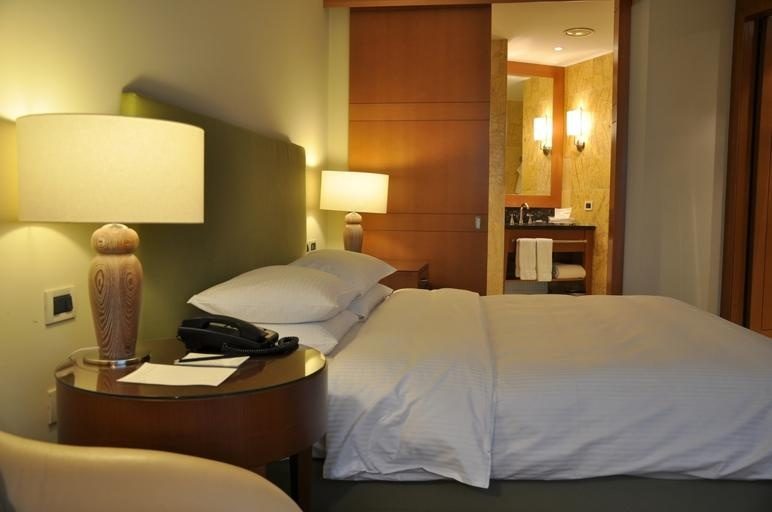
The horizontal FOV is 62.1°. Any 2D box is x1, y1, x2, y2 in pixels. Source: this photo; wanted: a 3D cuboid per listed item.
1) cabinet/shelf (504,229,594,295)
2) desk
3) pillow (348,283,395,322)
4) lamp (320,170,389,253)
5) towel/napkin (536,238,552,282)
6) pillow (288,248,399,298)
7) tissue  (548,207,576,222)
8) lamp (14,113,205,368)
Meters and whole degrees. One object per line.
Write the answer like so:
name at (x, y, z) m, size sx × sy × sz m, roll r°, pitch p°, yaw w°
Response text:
cabinet/shelf at (1.705, -0.062, 6.732) m, size 0.899 × 0.908 × 0.680 m, roll 0°, pitch 11°, yaw 1°
desk at (-0.644, 0.562, 2.442) m, size 0.588 × 0.474 × 0.595 m, roll 0°, pitch 2°, yaw 3°
pillow at (-0.095, 0.252, 3.542) m, size 0.135 × 0.075 × 0.404 m, roll 34°, pitch 17°, yaw 5°
lamp at (-0.312, -0.367, 5.176) m, size 0.570 × 0.708 × 0.560 m, roll -2°, pitch 8°, yaw -24°
towel/napkin at (1.560, 0.041, 6.282) m, size 0.203 × 0.363 × 0.092 m, roll -2°, pitch -1°, yaw 3°
pillow at (-0.259, 0.058, 3.661) m, size 0.328 × 0.111 × 0.359 m, roll 10°, pitch 10°, yaw 14°
tissue  at (1.868, -0.412, 6.841) m, size 0.194 × 0.208 × 0.089 m, roll -1°, pitch -29°, yaw 17°
lamp at (-1.074, -0.073, 2.851) m, size 0.774 × 1.303 × 0.822 m, roll 1°, pitch 3°, yaw 11°
